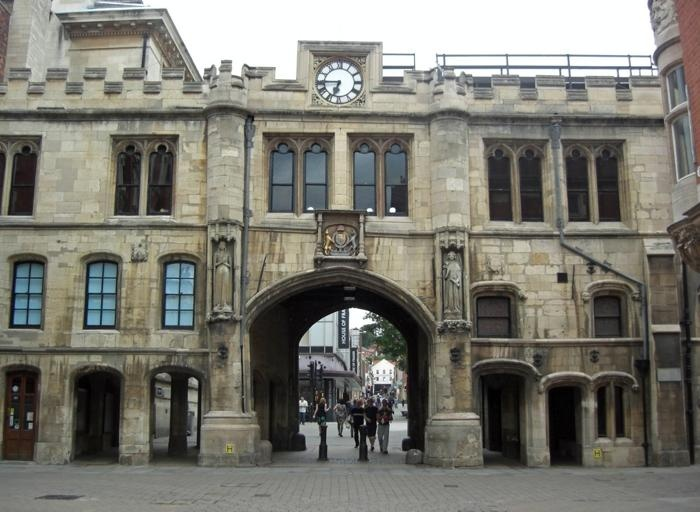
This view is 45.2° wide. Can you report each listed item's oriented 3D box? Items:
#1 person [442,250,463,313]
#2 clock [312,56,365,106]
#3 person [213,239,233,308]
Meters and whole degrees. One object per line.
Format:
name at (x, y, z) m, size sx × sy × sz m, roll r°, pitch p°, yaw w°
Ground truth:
person at (3.869, 1.045, 31.148) m, size 0.777 × 2.561 × 0.384 m, roll -2°, pitch -12°, yaw 6°
clock at (-0.466, -6.829, 33.078) m, size 2.026 × 2.036 × 0.149 m, roll 1°, pitch -14°, yaw -2°
person at (-4.677, 0.706, 30.985) m, size 0.695 × 2.773 × 0.330 m, roll 1°, pitch -12°, yaw -7°
